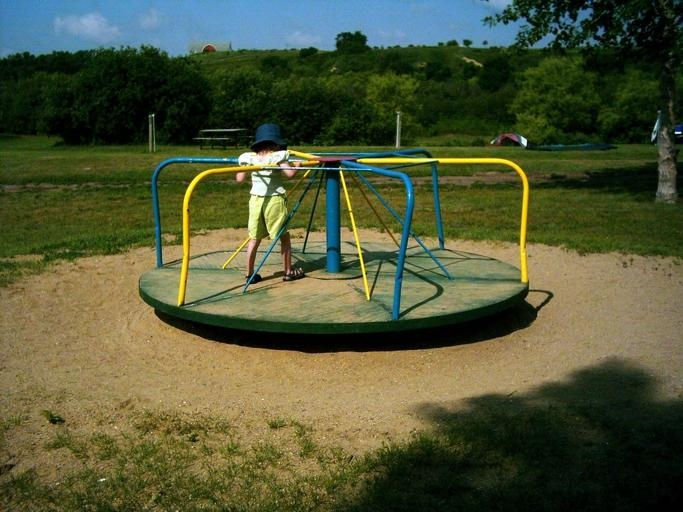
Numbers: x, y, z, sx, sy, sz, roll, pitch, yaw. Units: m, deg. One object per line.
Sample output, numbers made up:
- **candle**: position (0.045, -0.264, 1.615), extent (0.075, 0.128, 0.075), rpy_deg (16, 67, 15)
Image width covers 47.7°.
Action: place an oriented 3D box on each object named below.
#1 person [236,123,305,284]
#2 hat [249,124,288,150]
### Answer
- **person**: position (-0.795, -0.552, 8.554), extent (0.737, 1.785, 0.892), rpy_deg (1, 10, -4)
- **hat**: position (-0.814, -1.309, 8.579), extent (0.368, 0.292, 0.388), rpy_deg (0, 9, -7)
